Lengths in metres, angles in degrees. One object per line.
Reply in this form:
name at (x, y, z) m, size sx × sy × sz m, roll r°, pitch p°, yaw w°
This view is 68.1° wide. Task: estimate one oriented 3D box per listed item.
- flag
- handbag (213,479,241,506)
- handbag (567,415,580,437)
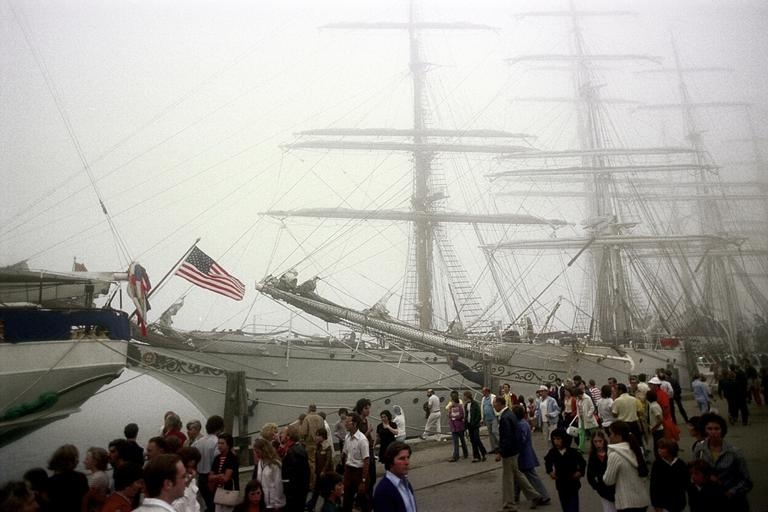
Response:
flag at (-4.355, 0.434, 14.003) m, size 1.380 × 1.014 × 0.122 m, roll 27°, pitch -33°, yaw -6°
handbag at (-2.256, 3.354, 8.098) m, size 0.410 × 0.388 × 0.150 m, roll 3°, pitch -29°, yaw -3°
handbag at (3.703, 3.332, 11.191) m, size 0.225 × 0.378 × 0.495 m, roll -5°, pitch -20°, yaw 17°
